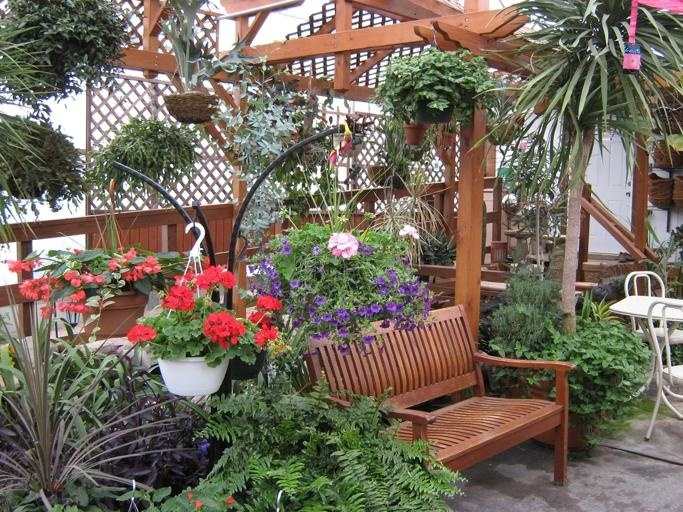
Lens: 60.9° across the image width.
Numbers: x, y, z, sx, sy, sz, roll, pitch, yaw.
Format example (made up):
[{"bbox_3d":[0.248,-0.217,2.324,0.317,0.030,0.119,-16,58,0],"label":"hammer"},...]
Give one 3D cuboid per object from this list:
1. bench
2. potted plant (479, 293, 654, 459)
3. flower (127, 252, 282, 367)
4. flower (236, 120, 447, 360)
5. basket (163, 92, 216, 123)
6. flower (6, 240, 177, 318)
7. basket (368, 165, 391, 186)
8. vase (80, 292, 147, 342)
[{"bbox_3d":[0.545,0.785,3.198,0.570,0.720,1.062,-2,0,41],"label":"bench"},{"bbox_3d":[1.525,0.672,4.011,0.952,0.743,1.010,1,4,22],"label":"potted plant"},{"bbox_3d":[-0.555,0.193,2.469,0.515,0.383,0.433,4,19,9],"label":"flower"},{"bbox_3d":[0.020,-0.154,3.298,0.941,1.005,1.757,0,6,8],"label":"flower"},{"bbox_3d":[-1.076,-1.053,4.124,0.241,0.132,0.255,1,8,20],"label":"basket"},{"bbox_3d":[-1.161,0.087,2.618,0.453,0.179,0.436,2,4,27],"label":"flower"},{"bbox_3d":[0.395,-0.857,6.100,0.222,0.179,0.214,-1,1,17],"label":"basket"},{"bbox_3d":[-1.510,0.458,3.976,0.345,0.282,0.363,-7,-20,3],"label":"vase"}]
